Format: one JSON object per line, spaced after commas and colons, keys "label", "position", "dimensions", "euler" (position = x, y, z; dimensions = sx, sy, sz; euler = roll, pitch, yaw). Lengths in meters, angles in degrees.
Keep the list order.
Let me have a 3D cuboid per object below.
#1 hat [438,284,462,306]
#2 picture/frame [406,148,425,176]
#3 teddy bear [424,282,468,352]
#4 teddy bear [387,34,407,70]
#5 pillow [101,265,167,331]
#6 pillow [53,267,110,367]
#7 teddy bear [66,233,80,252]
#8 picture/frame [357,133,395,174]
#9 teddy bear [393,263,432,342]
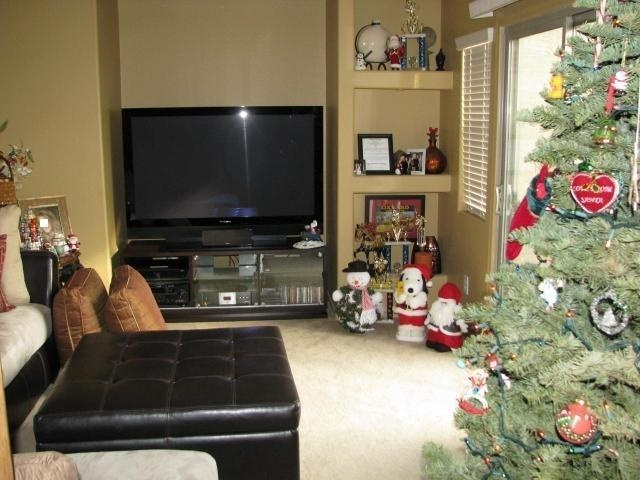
{"label": "hat", "position": [1.006, 0.420, 3.999], "dimensions": [0.190, 0.175, 0.144], "euler": [11, -2, -32]}
{"label": "picture/frame", "position": [0.873, -0.692, 4.640], "dimensions": [0.219, 0.315, 0.029], "euler": [1, 2, 10]}
{"label": "teddy bear", "position": [0.964, 0.595, 3.948], "dimensions": [0.333, 0.518, 0.263], "euler": [14, 22, 40]}
{"label": "teddy bear", "position": [0.664, -1.618, 4.457], "dimensions": [0.152, 0.276, 0.120], "euler": [2, 13, 8]}
{"label": "pillow", "position": [-1.062, 0.186, 2.933], "dimensions": [0.286, 0.456, 0.625], "euler": [-3, 15, -13]}
{"label": "pillow", "position": [-1.410, 0.371, 3.048], "dimensions": [0.237, 0.463, 0.490], "euler": [4, 31, -8]}
{"label": "teddy bear", "position": [-2.063, 0.029, 4.250], "dimensions": [0.093, 0.156, 0.139], "euler": [1, 7, 44]}
{"label": "picture/frame", "position": [0.501, -0.764, 4.644], "dimensions": [0.343, 0.432, 0.035], "euler": [2, -13, -10]}
{"label": "teddy bear", "position": [0.756, 0.505, 4.156], "dimensions": [0.268, 0.584, 0.274], "euler": [2, 13, 9]}
